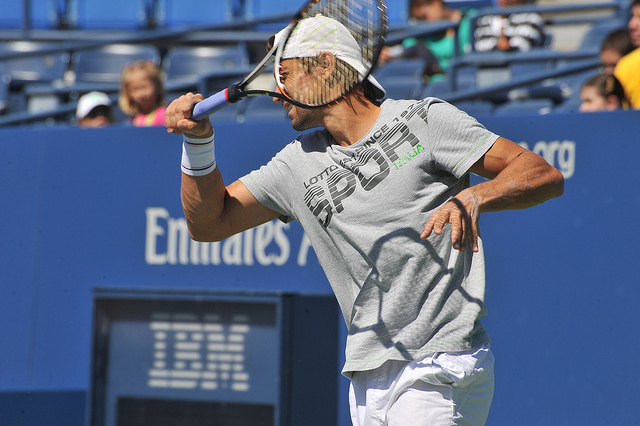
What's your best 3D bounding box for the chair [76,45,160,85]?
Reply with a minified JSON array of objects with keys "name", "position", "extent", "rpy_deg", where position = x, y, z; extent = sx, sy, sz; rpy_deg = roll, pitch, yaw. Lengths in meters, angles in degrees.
[{"name":"chair","position":[-2.255,-1.718,19.757],"extent":[0.672,0.697,0.893],"rpy_deg":[10,16,36]}]
